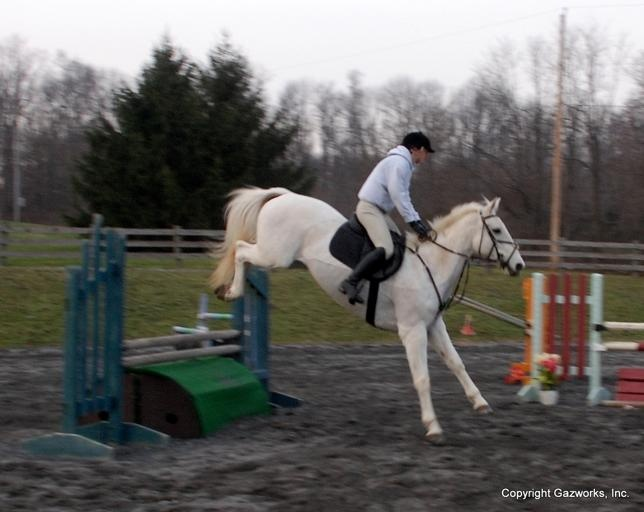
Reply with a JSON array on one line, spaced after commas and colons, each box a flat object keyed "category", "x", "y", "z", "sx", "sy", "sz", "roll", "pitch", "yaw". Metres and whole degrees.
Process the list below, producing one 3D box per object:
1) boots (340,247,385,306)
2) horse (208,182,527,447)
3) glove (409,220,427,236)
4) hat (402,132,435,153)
[{"category": "boots", "x": 0.418, "y": 0.207, "z": 8.392, "sx": 0.438, "sy": 0.605, "sz": 0.188, "roll": 3, "pitch": 6, "yaw": 0}, {"category": "horse", "x": 0.456, "y": 0.505, "z": 8.882, "sx": 3.110, "sy": 2.397, "sz": 1.118, "roll": 5, "pitch": 6, "yaw": 21}, {"category": "glove", "x": 1.036, "y": -0.308, "z": 8.653, "sx": 0.125, "sy": 0.207, "sz": 0.088, "roll": -42, "pitch": 2, "yaw": 6}, {"category": "hat", "x": 1.073, "y": -1.237, "z": 8.811, "sx": 0.349, "sy": 0.158, "sz": 0.225, "roll": 2, "pitch": 16, "yaw": -29}]
